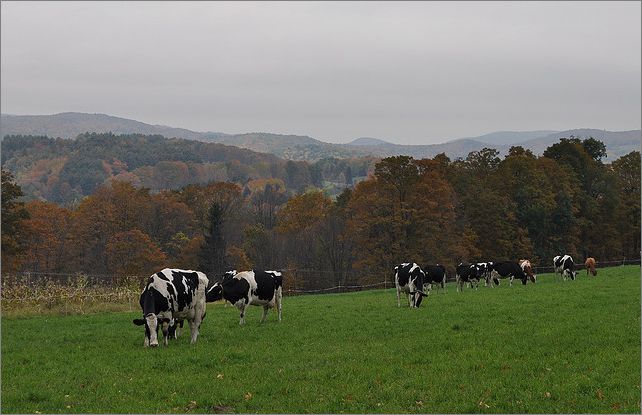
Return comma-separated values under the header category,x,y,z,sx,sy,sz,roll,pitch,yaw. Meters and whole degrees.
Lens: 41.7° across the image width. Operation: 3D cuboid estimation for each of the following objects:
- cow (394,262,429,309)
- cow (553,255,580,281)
category,x,y,z,sx,sy,sz,roll,pitch,yaw
cow,9.231,8.187,88.273,2.782,4.538,3.713,4,-7,-34
cow,29.725,7.554,102.355,1.785,2.858,5.370,3,-1,-8
